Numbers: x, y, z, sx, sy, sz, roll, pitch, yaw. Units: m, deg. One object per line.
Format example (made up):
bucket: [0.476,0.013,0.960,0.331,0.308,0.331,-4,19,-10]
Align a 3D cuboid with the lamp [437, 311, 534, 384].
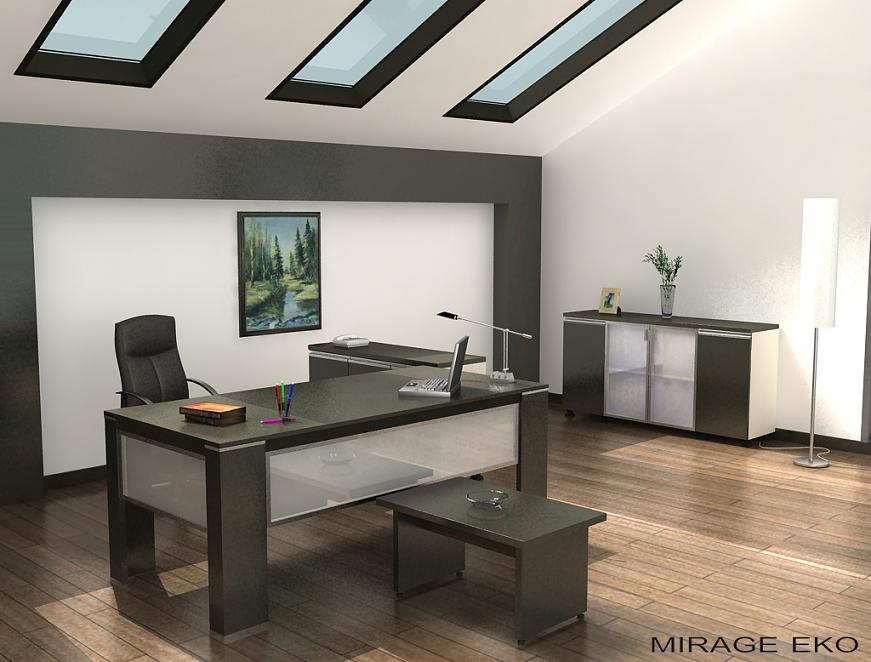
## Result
lamp: [0.371,0.138,4.983,0.767,0.526,0.210,3,-11,-17]

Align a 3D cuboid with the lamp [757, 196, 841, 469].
lamp: [3.454,-0.004,5.935,0.325,2.380,0.658,3,7,29]

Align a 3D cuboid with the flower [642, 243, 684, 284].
flower: [2.478,-0.728,7.152,0.542,0.547,0.401,-1,0,2]

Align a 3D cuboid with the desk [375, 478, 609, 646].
desk: [0.298,1.171,3.515,1.025,0.608,0.596,4,8,35]

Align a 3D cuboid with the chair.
chair: [-2.172,0.225,5.226,0.633,0.987,0.622,8,13,43]

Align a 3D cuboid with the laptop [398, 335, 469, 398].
laptop: [-0.015,0.176,4.246,0.383,0.340,0.456,3,5,6]

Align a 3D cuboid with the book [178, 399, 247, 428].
book: [-1.162,0.433,3.494,0.313,0.086,0.227,2,7,20]

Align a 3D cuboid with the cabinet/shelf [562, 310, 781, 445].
cabinet/shelf: [2.458,0.455,7.099,0.603,1.132,2.210,-4,6,-38]

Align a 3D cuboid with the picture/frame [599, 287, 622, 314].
picture/frame: [1.947,-0.338,7.307,0.227,0.287,0.300,2,7,17]
